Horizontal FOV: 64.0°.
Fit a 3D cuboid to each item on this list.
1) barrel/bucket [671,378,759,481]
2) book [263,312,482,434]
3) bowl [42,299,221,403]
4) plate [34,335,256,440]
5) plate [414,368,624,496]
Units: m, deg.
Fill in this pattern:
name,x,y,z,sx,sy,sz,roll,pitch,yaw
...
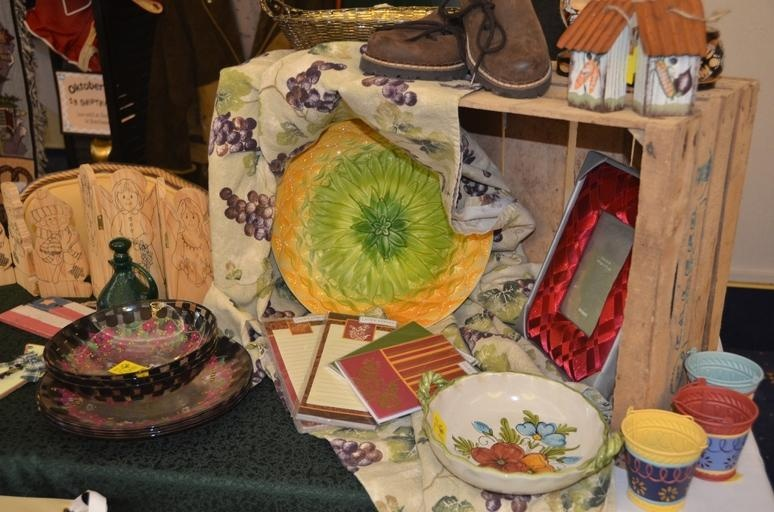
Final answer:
name,x,y,z,sx,sy,sz,roll,pitch,yaw
barrel/bucket,0.576,0.298,1.153,0.159,0.146,0.148,-5,29,3
book,-0.050,0.246,1.290,0.240,0.032,0.270,-5,38,-15
bowl,-0.538,0.183,1.265,0.217,0.071,0.230,2,29,-1
plate,-0.456,0.264,1.182,0.227,0.039,0.234,2,27,-1
plate,0.226,0.306,1.110,0.326,0.137,0.224,0,23,1
